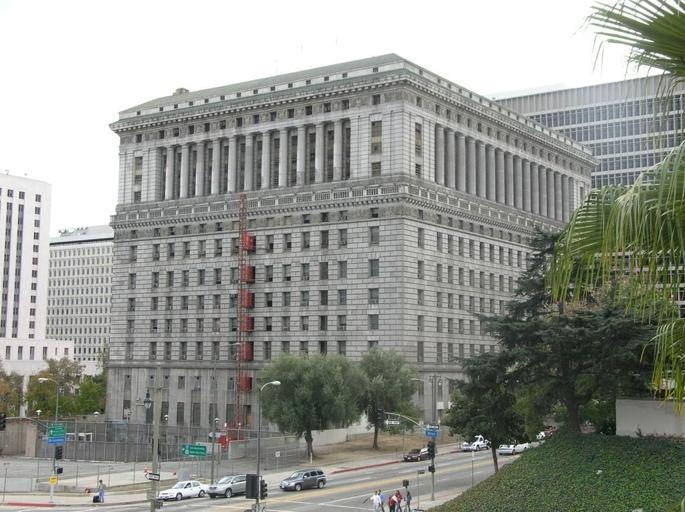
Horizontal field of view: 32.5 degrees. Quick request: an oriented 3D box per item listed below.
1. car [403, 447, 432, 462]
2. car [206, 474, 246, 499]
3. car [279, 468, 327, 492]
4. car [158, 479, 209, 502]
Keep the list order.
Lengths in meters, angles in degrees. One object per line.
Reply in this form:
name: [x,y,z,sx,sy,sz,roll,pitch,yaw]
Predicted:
car: [8.332,22.952,135.256,2.658,1.482,2.253,0,-12,-9]
car: [-11.241,23.179,118.098,2.412,1.928,5.254,-12,-20,36]
car: [-4.060,22.775,118.945,3.790,1.399,2.031,8,-14,-36]
car: [-15.965,23.434,117.082,4.748,1.362,2.017,9,-15,-36]
